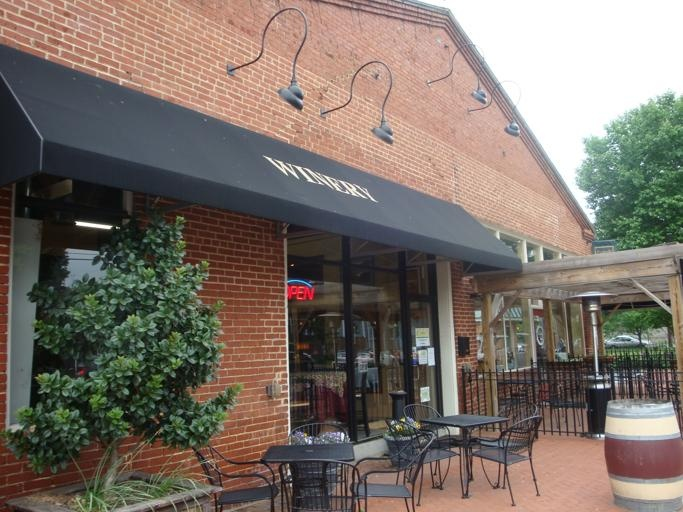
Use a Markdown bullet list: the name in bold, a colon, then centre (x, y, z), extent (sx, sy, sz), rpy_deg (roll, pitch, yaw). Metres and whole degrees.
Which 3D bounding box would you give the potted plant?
- **potted plant**: centre (-2.218, 0.973, 5.864), extent (1.945, 2.986, 0.732), rpy_deg (-2, -12, -13)

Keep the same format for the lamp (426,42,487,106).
- **lamp**: centre (2.913, -4.598, 14.266), extent (0.584, 1.166, 1.936), rpy_deg (-25, 38, -29)
